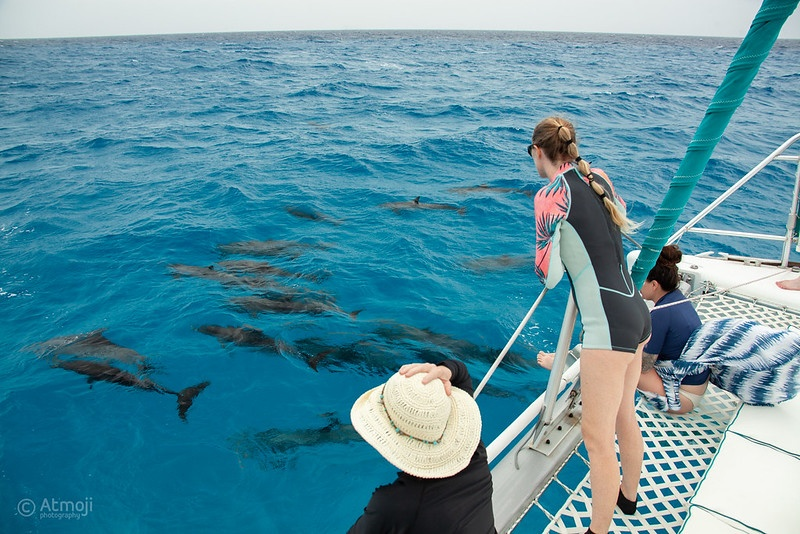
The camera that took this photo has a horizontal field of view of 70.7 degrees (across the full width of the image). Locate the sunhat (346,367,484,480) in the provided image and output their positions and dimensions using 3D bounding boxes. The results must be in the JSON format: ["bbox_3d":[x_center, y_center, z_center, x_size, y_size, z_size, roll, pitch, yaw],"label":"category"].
[{"bbox_3d":[0.170,1.438,5.009,1.156,0.350,1.174,-30,50,-29],"label":"sunhat"}]

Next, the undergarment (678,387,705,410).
[{"bbox_3d":[3.304,1.460,6.401,0.351,0.174,0.298,7,3,28],"label":"undergarment"}]

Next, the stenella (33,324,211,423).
[{"bbox_3d":[-4.331,1.598,8.788,3.387,0.562,0.834,6,24,27],"label":"stenella"}]
